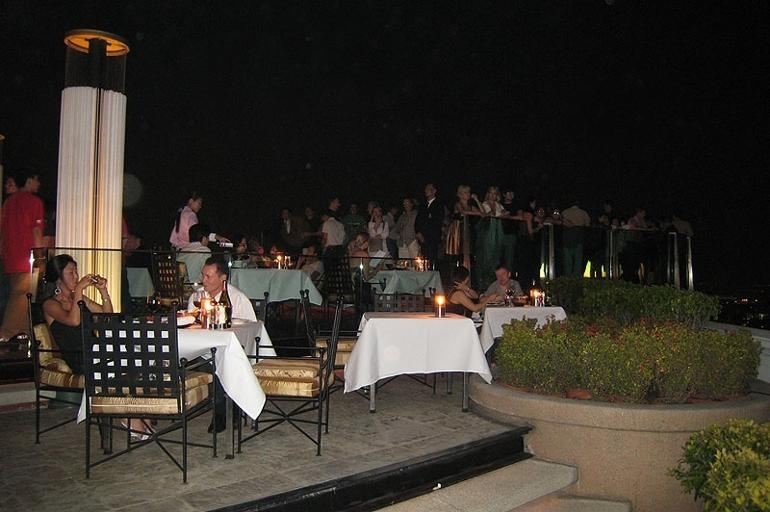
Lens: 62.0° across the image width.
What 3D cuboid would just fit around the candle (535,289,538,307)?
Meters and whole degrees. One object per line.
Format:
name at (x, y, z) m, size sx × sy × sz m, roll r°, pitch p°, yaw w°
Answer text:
candle at (2.164, 0.574, 9.084) m, size 0.048 × 0.213 × 0.068 m, roll -2°, pitch -2°, yaw 13°

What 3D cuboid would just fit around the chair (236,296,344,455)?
chair at (-1.150, 1.384, 7.684) m, size 1.478 × 2.265 × 1.304 m, roll 2°, pitch -2°, yaw 2°

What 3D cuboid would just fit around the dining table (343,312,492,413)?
dining table at (0.326, 1.120, 8.092) m, size 1.349 × 0.758 × 1.265 m, roll 1°, pitch 3°, yaw -5°

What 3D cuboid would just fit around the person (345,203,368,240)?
person at (-0.769, -0.691, 15.540) m, size 0.606 × 1.266 × 0.378 m, roll 1°, pitch -25°, yaw 1°

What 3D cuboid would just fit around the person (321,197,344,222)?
person at (-1.444, -1.319, 17.186) m, size 0.450 × 0.632 × 0.921 m, roll -6°, pitch 12°, yaw -28°

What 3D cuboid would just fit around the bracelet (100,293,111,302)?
bracelet at (-3.211, 0.445, 7.334) m, size 0.117 × 0.073 × 0.161 m, roll 2°, pitch -34°, yaw -12°

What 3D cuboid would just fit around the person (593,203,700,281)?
person at (4.992, -0.062, 12.271) m, size 2.346 × 0.984 × 0.607 m, roll -1°, pitch -2°, yaw -27°

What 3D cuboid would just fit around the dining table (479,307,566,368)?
dining table at (1.768, 0.962, 8.563) m, size 0.940 × 0.502 × 0.902 m, roll 0°, pitch -4°, yaw -6°

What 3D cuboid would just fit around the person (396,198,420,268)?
person at (0.493, -0.540, 13.849) m, size 0.489 × 1.501 × 1.620 m, roll -2°, pitch -2°, yaw 2°

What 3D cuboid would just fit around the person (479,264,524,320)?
person at (1.796, 0.513, 9.656) m, size 0.555 × 0.531 × 0.804 m, roll -1°, pitch 2°, yaw 12°

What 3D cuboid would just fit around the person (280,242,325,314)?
person at (-1.480, 0.410, 11.607) m, size 0.801 × 0.705 × 1.379 m, roll 14°, pitch 3°, yaw -13°

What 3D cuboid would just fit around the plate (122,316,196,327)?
plate at (-2.223, 0.614, 6.137) m, size 0.388 × 0.084 × 0.217 m, roll 2°, pitch -7°, yaw -11°

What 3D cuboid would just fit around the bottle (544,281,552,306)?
bottle at (2.864, 0.584, 11.166) m, size 0.144 × 0.386 × 0.726 m, roll -2°, pitch -2°, yaw 13°

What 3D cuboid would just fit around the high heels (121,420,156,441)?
high heels at (-2.614, 1.834, 6.756) m, size 0.172 × 0.178 × 0.457 m, roll -1°, pitch -25°, yaw 5°

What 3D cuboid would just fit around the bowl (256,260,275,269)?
bowl at (-2.334, 0.127, 12.365) m, size 0.303 × 0.080 × 0.301 m, roll 2°, pitch 1°, yaw 0°

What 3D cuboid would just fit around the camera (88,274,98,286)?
camera at (-3.200, 0.248, 6.987) m, size 0.108 × 0.109 × 0.037 m, roll 1°, pitch 7°, yaw -18°

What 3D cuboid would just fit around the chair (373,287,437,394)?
chair at (0.230, 1.123, 9.142) m, size 1.147 × 0.884 × 1.162 m, roll 0°, pitch 3°, yaw -5°

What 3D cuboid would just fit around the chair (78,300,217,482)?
chair at (-2.495, 1.336, 6.871) m, size 1.450 × 2.231 × 1.598 m, roll 0°, pitch -1°, yaw 2°
